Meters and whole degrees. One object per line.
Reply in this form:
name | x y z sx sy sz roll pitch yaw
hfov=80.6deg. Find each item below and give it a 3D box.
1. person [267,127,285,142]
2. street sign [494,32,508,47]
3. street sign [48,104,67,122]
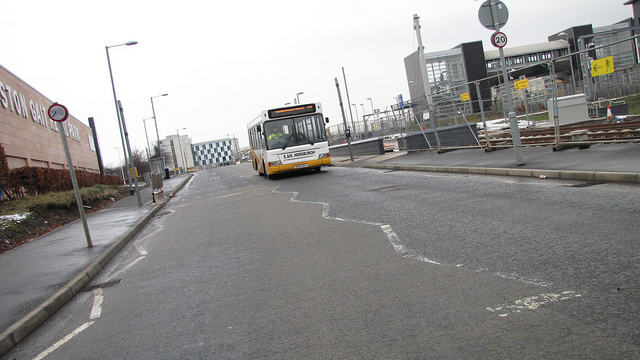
person | -2.866 -2.957 24.056 1.088 0.776 0.249 -11 11 -11
street sign | 6.737 -5.252 14.043 0.332 0.536 0.497 1 15 44
street sign | -8.586 -2.195 12.326 0.600 0.610 0.366 -1 14 38
